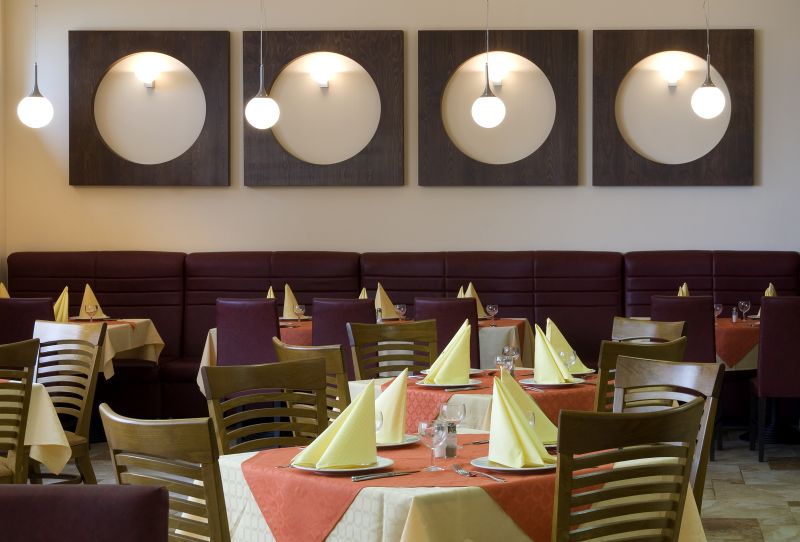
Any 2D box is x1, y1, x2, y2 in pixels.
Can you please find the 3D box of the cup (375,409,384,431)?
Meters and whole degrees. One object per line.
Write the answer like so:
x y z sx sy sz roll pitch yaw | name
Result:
-0.094 0.694 3.578 0.034 0.090 0.086 0 0 2 | cup

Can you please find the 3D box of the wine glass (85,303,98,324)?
-2.734 0.382 6.907 0.118 0.220 0.127 0 2 -22 | wine glass

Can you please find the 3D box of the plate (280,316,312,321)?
-0.937 0.433 6.922 0.281 0.034 0.268 0 -1 -5 | plate

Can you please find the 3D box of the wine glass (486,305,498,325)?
0.816 0.390 6.773 0.119 0.260 0.130 -1 0 8 | wine glass

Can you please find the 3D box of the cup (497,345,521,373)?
0.641 0.514 4.597 0.139 0.180 0.145 0 1 0 | cup

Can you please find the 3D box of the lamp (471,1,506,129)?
0.876 -2.072 7.613 0.329 1.448 0.883 0 0 7 | lamp

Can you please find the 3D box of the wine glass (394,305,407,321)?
0.002 0.385 6.824 0.097 0.144 0.110 0 -1 -10 | wine glass

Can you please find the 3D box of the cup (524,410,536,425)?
0.574 0.648 3.431 0.043 0.052 0.048 1 2 14 | cup

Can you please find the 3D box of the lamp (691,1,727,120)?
3.024 -2.109 7.620 0.312 1.316 0.781 0 0 22 | lamp

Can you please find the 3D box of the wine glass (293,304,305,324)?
-0.930 0.410 7.025 0.105 0.224 0.125 1 1 8 | wine glass

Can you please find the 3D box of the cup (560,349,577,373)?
1.006 0.542 4.658 0.099 0.145 0.113 -1 3 -5 | cup

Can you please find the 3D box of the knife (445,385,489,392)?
0.380 0.673 4.410 0.257 0.031 0.118 0 -1 -10 | knife

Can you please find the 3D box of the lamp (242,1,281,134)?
-1.331 -1.911 7.537 0.334 1.154 1.050 0 0 -10 | lamp

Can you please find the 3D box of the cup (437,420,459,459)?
0.203 0.738 3.429 0.111 0.238 0.132 0 -2 1 | cup
